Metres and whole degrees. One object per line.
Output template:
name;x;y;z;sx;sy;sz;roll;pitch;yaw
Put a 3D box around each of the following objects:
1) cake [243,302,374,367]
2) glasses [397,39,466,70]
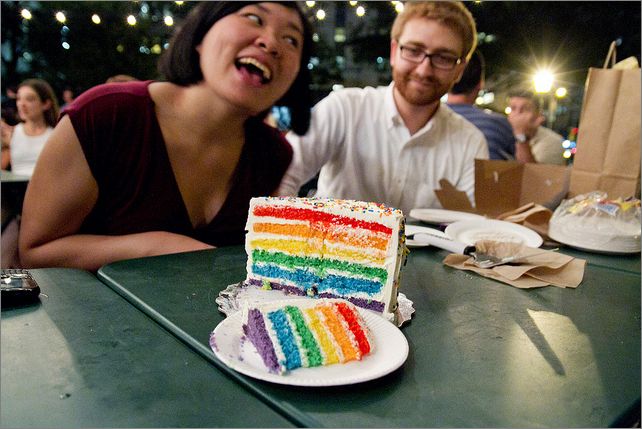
cake;-0.059;0.513;2.203;0.392;0.128;0.304;-4;22;-20
glasses;0.893;-1.290;4.142;0.494;0.182;0.109;4;18;3
